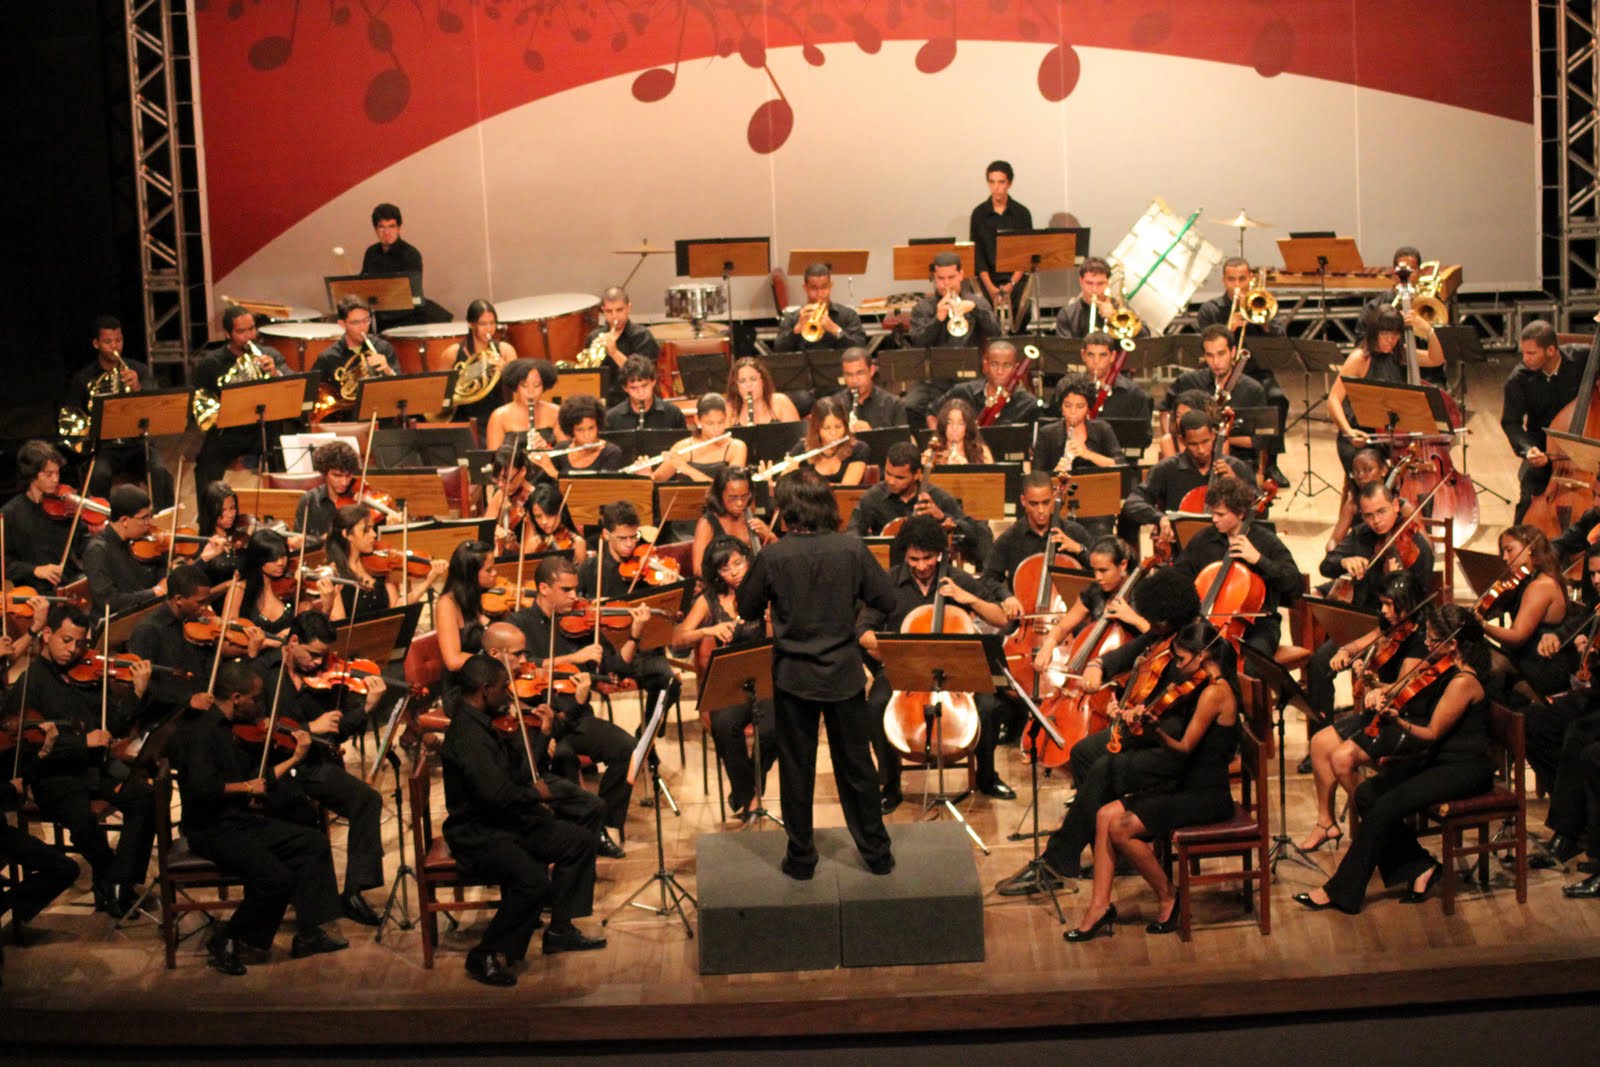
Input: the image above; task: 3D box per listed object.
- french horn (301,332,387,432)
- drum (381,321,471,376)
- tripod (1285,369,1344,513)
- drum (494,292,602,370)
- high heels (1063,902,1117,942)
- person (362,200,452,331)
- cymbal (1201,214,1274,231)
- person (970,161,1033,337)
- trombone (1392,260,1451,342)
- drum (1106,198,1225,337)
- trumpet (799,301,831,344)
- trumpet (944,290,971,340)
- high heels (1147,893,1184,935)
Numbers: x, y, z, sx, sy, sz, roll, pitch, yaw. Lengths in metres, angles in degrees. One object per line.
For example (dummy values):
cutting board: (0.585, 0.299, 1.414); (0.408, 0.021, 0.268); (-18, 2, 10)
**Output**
french horn: (-4.134, -1.449, 14.848); (0.745, 1.038, 0.729); (16, 24, 41)
drum: (-3.698, -1.866, 15.894); (0.906, 0.576, 0.793); (-1, 19, -11)
tripod: (4.896, -0.942, 15.369); (0.778, 1.314, 0.747); (-1, -5, 24)
drum: (-2.541, -2.106, 16.406); (0.968, 0.734, 0.986); (-4, 16, 1)
high heels: (1.723, 2.262, 9.320); (0.393, 0.212, 0.134); (-1, 4, -7)
person: (-4.453, -2.472, 17.493); (0.737, 2.141, 0.684); (2, 12, 15)
cymbal: (5.129, -3.598, 18.580); (0.548, 0.129, 0.547); (-1, 15, -19)
person: (2.252, -2.881, 17.496); (0.792, 2.403, 0.945); (3, 27, 16)
trombone: (6.281, -2.121, 15.935); (0.459, 0.384, 0.912); (-2, -3, 22)
drum: (3.807, -2.786, 16.727); (0.936, 1.501, 1.038); (-6, 15, -1)
trumpet: (0.147, -1.988, 15.173); (0.213, 0.100, 0.424); (2, 48, 7)
trumpet: (1.512, -2.036, 15.068); (0.289, 0.331, 0.531); (-7, 23, 9)
high heels: (2.165, 2.228, 9.350); (0.102, 0.131, 0.309); (-23, -3, 30)
